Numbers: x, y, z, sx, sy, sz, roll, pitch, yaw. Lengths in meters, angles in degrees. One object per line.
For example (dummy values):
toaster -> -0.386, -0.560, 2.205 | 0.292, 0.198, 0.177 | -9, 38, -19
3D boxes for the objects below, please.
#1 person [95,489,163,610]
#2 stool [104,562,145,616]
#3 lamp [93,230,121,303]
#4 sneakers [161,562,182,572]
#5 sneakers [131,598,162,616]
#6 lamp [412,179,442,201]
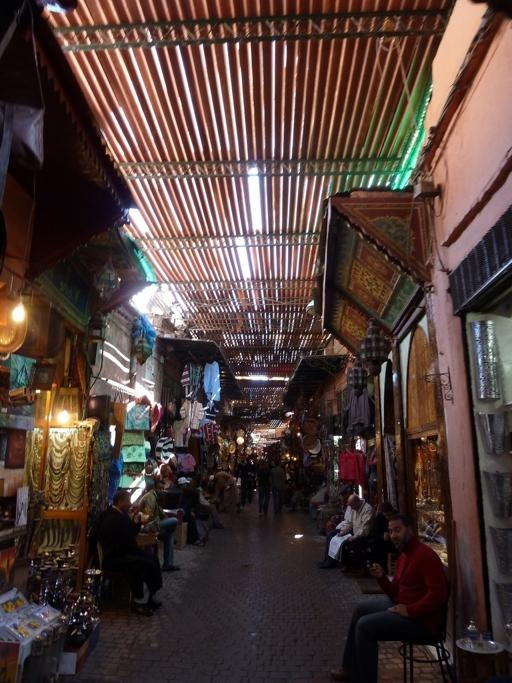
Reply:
person -> -1.409, 2.249, 4.834 | 0.767, 1.209, 0.558 | 5, -16, -15
stool -> -1.467, 2.719, 4.851 | 0.460, 0.365, 0.690 | 5, -25, -8
lamp -> -2.053, -1.012, 6.125 | 0.359, 0.466, 1.477 | 5, -18, -17
sneakers -> -1.224, 3.301, 6.505 | 0.302, 0.155, 0.111 | 9, -5, -9
sneakers -> -1.124, 2.773, 4.678 | 0.244, 0.126, 0.397 | -5, -18, 16
lamp -> 1.533, -1.412, 4.034 | 0.169, 0.141, 0.173 | 8, -24, -19
